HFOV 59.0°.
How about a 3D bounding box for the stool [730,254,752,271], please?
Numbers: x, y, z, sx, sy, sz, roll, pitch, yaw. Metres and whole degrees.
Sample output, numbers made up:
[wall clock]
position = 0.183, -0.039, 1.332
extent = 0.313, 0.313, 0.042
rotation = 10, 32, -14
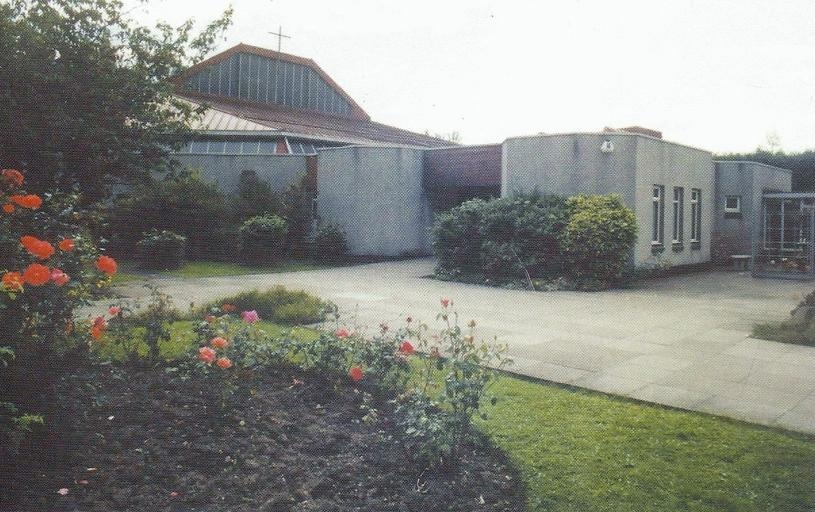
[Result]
[stool]
position = 5.864, 0.127, 12.696
extent = 0.225, 0.185, 0.271
rotation = -4, 3, -28
